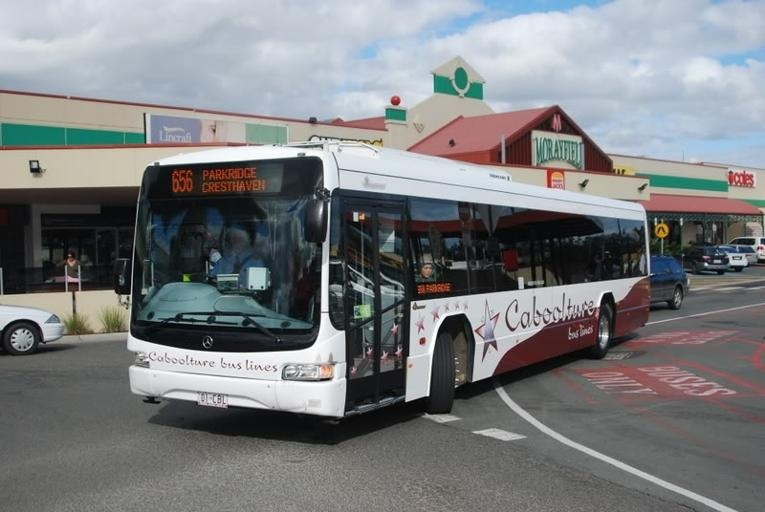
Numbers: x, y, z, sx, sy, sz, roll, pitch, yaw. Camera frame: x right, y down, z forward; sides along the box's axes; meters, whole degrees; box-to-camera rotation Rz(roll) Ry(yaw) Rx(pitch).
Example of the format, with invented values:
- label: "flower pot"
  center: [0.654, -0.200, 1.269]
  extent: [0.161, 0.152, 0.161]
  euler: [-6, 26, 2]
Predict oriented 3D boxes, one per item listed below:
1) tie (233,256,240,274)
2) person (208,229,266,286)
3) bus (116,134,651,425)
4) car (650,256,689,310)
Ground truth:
- label: "tie"
  center: [-2.106, 0.142, 9.050]
  extent: [0.043, 0.194, 0.128]
  euler: [2, 1, -38]
- label: "person"
  center: [-2.078, -0.005, 9.041]
  extent: [0.851, 0.848, 0.220]
  euler: [2, 4, 34]
- label: "bus"
  center: [1.640, 0.429, 13.635]
  extent: [4.189, 4.080, 13.082]
  euler: [-3, -5, 37]
- label: "car"
  center: [11.712, 1.158, 25.674]
  extent: [0.916, 2.163, 2.877]
  euler: [2, 4, 36]
